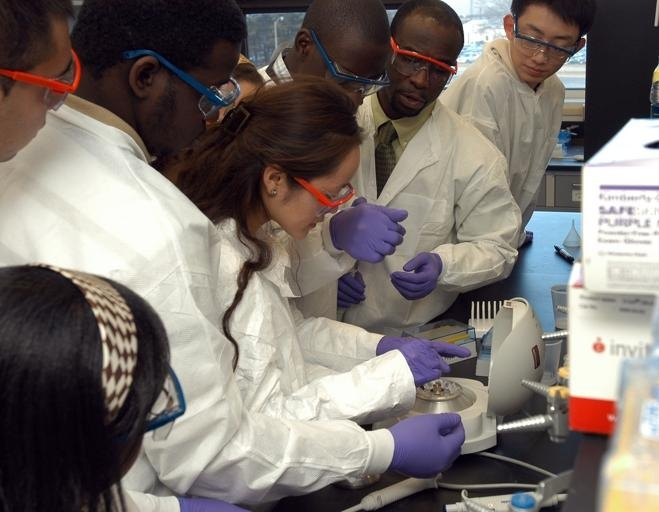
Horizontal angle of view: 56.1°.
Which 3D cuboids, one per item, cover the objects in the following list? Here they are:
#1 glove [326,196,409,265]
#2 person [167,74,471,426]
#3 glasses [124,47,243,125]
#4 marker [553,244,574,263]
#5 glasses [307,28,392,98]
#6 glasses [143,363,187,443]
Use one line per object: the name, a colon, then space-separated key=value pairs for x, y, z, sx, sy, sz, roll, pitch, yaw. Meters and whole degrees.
glove: x=0.136 y=-0.089 z=2.194 sx=0.204 sy=0.263 sz=0.359 roll=-5 pitch=9 yaw=-36
person: x=-0.121 y=-0.097 z=1.856 sx=0.926 sy=0.962 sz=0.718 roll=3 pitch=31 yaw=-5
glasses: x=-0.331 y=-0.429 z=1.505 sx=0.171 sy=0.054 sz=0.134 roll=43 pitch=5 yaw=-21
marker: x=1.195 y=-0.007 z=3.147 sx=0.022 sy=0.036 sz=0.116 roll=15 pitch=18 yaw=-21
glasses: x=0.069 y=-0.680 z=2.103 sx=0.060 sy=0.237 sz=0.222 roll=-35 pitch=-11 yaw=24
glasses: x=-0.279 y=0.240 z=1.045 sx=0.074 sy=0.119 sz=0.039 roll=-4 pitch=8 yaw=-26
